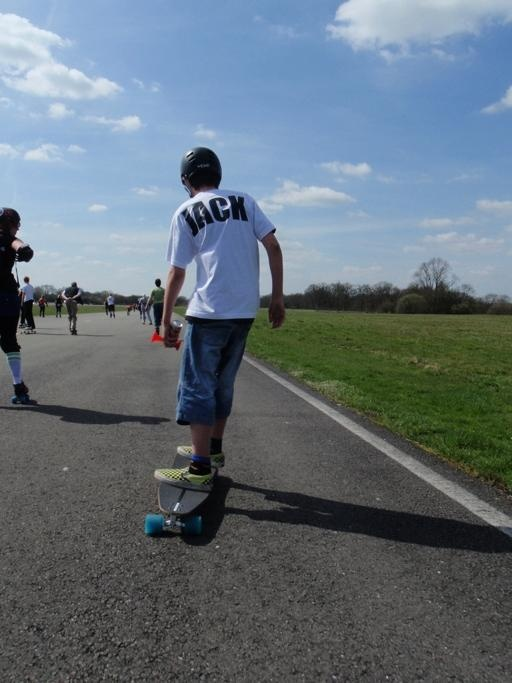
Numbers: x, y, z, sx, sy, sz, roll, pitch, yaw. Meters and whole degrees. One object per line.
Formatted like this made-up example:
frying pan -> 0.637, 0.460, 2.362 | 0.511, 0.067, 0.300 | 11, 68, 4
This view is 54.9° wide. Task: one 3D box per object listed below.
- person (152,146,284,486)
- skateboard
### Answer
person -> -0.210, 0.003, 2.904 | 0.711, 1.799, 0.568 | 1, 6, -1
skateboard -> -0.402, 0.885, 2.569 | 0.287, 0.112, 0.412 | 2, 7, 3
